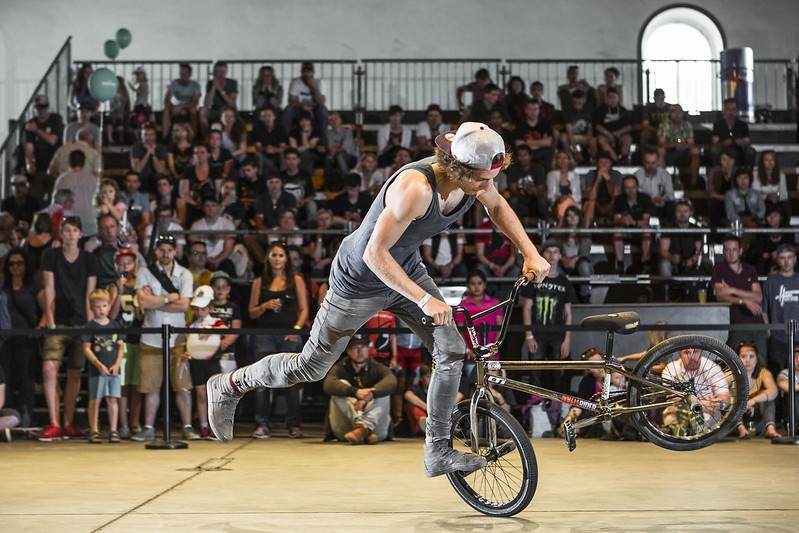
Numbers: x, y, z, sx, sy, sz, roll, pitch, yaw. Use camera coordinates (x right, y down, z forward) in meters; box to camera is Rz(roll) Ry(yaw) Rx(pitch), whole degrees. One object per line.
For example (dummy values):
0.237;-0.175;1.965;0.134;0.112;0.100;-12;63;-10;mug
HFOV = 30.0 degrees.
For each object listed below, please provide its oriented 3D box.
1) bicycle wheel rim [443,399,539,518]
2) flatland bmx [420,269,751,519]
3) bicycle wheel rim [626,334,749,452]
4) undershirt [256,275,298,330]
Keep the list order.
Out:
1.228;2.828;21.142;1.384;1.365;0.582;-19;2;31;bicycle wheel rim
2.516;1.698;21.520;4.691;2.863;2.290;-15;3;9;flatland bmx
4.325;1.898;22.050;1.817;1.781;1.030;-15;1;8;bicycle wheel rim
-1.985;0.636;25.121;0.871;1.064;0.604;0;-19;-2;undershirt
